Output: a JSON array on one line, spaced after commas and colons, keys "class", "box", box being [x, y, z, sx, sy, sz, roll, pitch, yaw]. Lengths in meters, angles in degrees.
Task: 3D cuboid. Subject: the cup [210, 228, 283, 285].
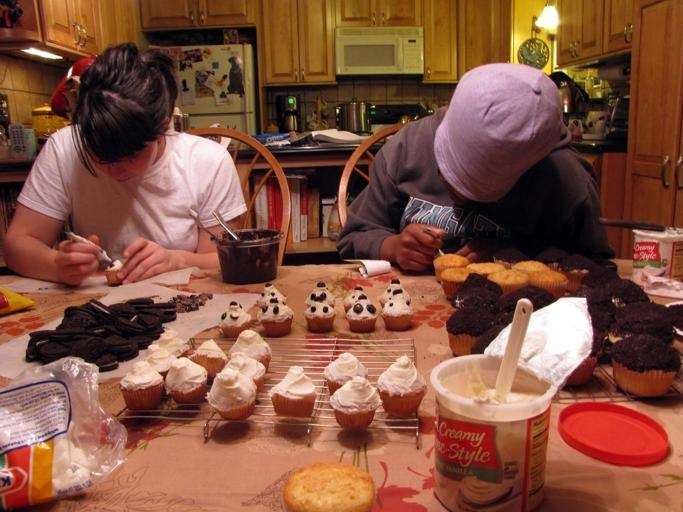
[{"class": "cup", "box": [-0.298, 0.012, 1.652, 0.188, 0.126, 0.193, 0, 22, 0]}]

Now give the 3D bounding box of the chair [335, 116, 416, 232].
[{"class": "chair", "box": [0.097, -0.485, 2.625, 0.325, 0.417, 0.329, -1, 14, -28]}]

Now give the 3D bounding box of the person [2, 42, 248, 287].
[{"class": "person", "box": [-0.857, -0.343, 1.863, 0.743, 0.783, 0.774, 2, 14, 13]}]

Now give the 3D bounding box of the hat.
[{"class": "hat", "box": [0.486, -0.373, 1.564, 0.377, 0.433, 0.286, 2, 14, 10]}]

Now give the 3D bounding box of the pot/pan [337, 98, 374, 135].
[{"class": "pot/pan", "box": [0.142, -1.475, 5.299, 0.393, 0.354, 0.321, -1, 21, -1]}]

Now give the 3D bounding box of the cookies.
[{"class": "cookies", "box": [-0.575, 0.184, 1.200, 0.189, 0.028, 0.175, 10, 25, 11]}]

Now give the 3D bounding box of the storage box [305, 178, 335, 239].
[{"class": "storage box", "box": [-0.169, -0.348, 3.783, 0.185, 0.341, 0.348, 0, 25, 3]}]
